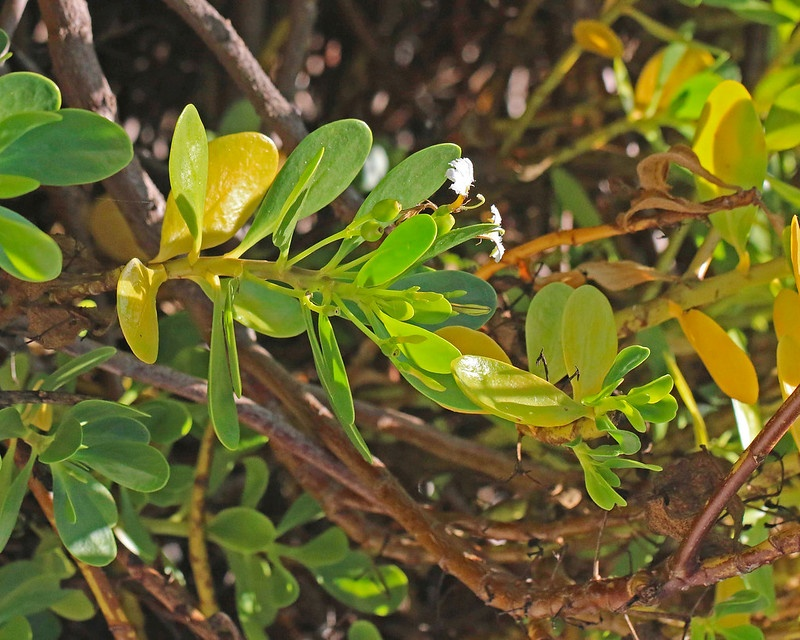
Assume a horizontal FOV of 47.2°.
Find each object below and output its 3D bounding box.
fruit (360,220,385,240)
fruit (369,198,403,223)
[{"bbox_3d":[-0.018,-0.055,0.549,0.010,0.011,0.010,48,55,-6],"label":"fruit"},{"bbox_3d":[-0.010,-0.066,0.555,0.017,0.017,0.022,3,39,-2],"label":"fruit"}]
